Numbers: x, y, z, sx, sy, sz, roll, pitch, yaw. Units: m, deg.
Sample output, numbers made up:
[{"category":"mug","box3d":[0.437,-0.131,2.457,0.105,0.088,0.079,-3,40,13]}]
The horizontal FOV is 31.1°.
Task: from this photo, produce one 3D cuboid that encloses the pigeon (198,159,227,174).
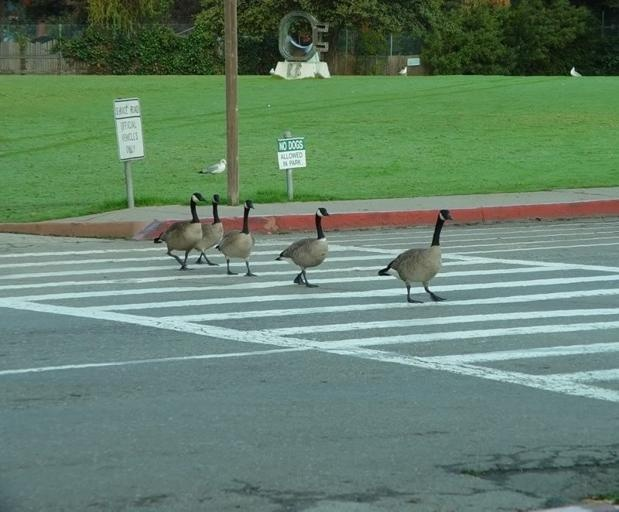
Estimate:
[{"category":"pigeon","box3d":[-2.160,-1.974,25.006,0.744,0.412,0.358,-1,22,-7]}]
